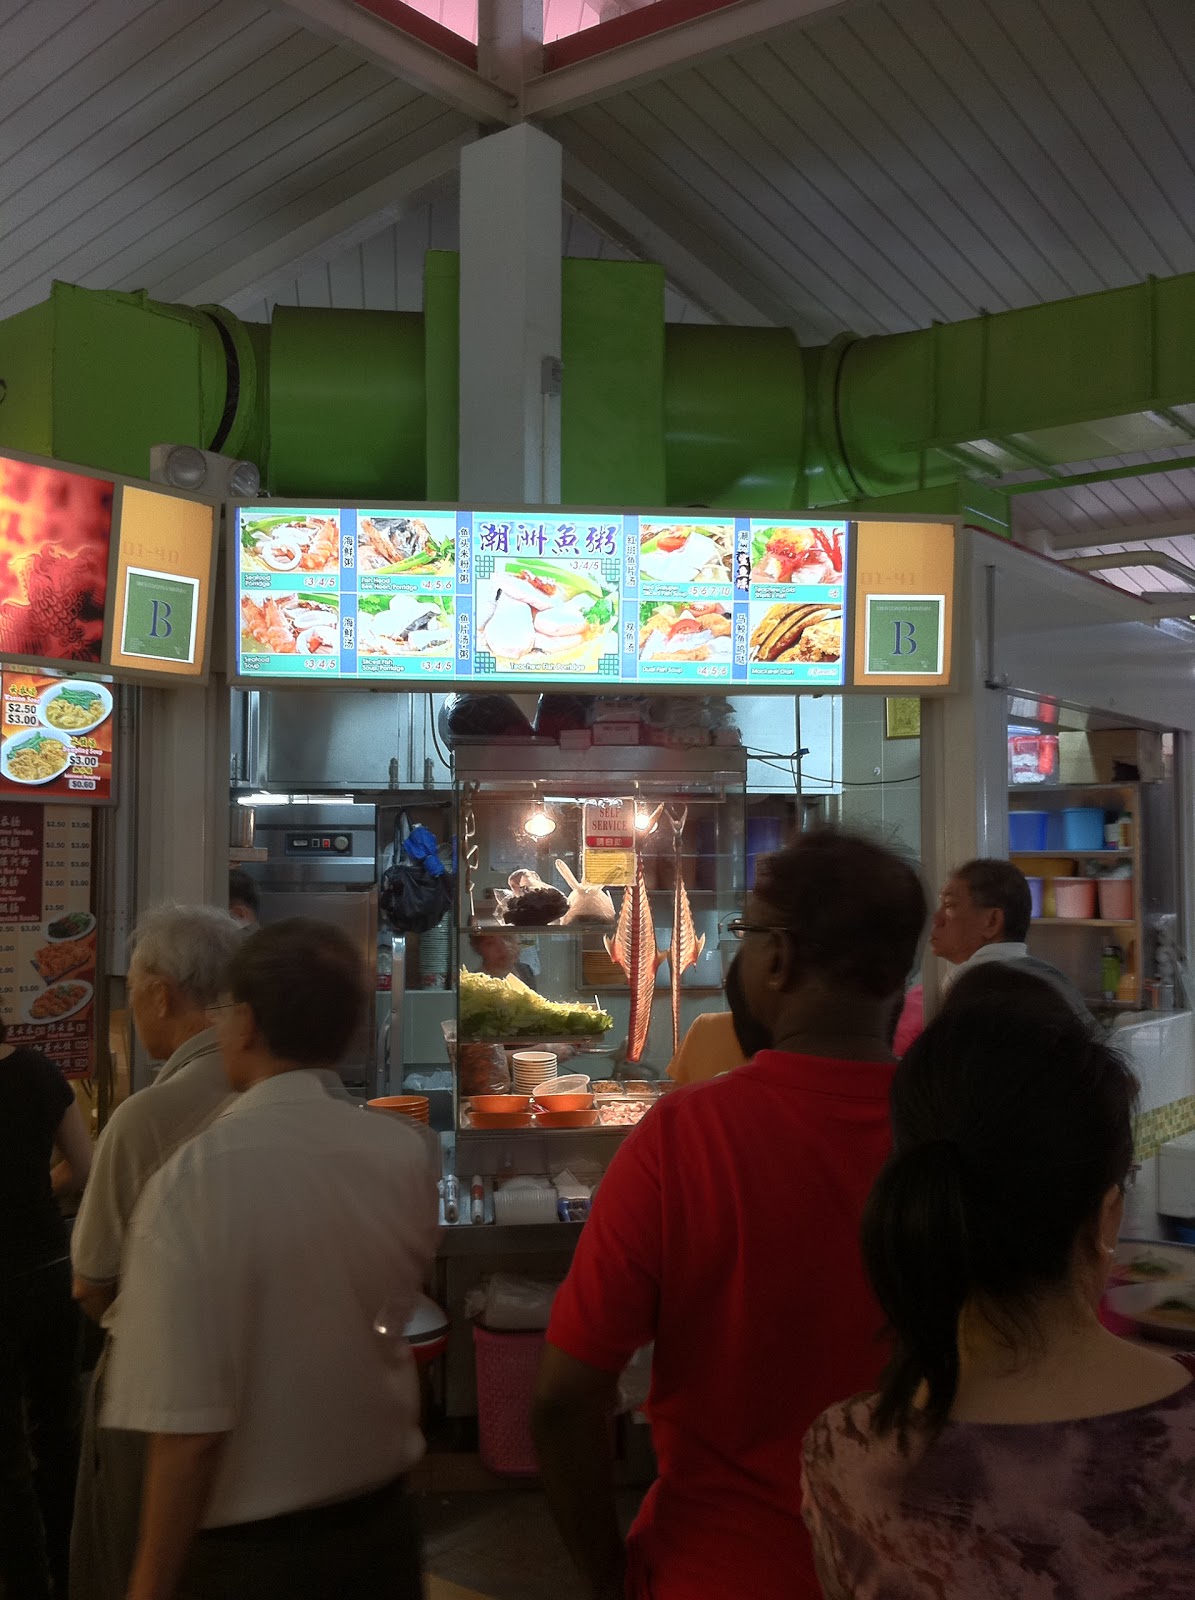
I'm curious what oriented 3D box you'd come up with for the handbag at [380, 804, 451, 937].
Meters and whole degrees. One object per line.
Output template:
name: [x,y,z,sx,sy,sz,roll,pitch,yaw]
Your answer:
handbag: [-0.911,0.390,6.710,0.469,0.568,0.290,4,-1,0]
